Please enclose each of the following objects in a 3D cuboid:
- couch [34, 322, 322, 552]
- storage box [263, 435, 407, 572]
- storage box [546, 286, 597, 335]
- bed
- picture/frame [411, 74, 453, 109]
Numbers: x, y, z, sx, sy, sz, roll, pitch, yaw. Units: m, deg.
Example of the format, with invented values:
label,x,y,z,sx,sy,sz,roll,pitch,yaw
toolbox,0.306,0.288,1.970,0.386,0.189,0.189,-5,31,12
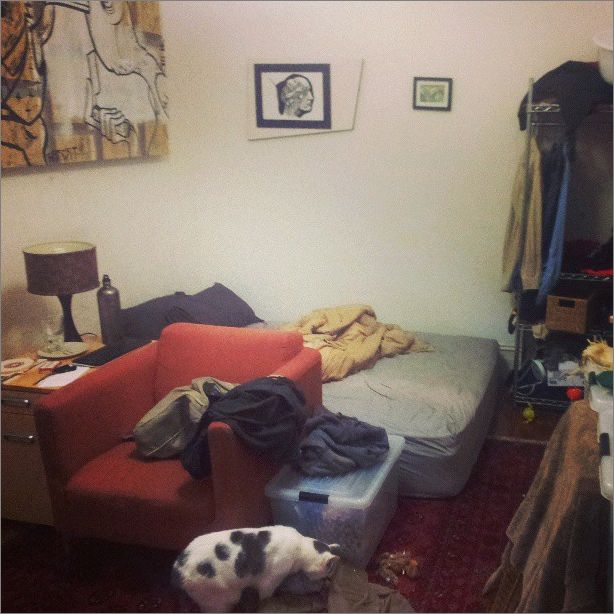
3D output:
label,x,y,z,sx,sy,sz,roll,pitch,yaw
couch,-0.476,0.464,2.230,0.762,0.633,0.677,4,15,15
storage box,0.102,0.700,2.279,0.353,0.339,0.556,0,21,14
storage box,1.433,0.034,3.213,0.179,0.189,0.183,5,5,27
bed,0.047,0.379,2.969,1.486,0.669,1.172,4,21,18
picture/frame,0.774,-1.334,3.567,0.185,0.178,0.016,3,17,15
